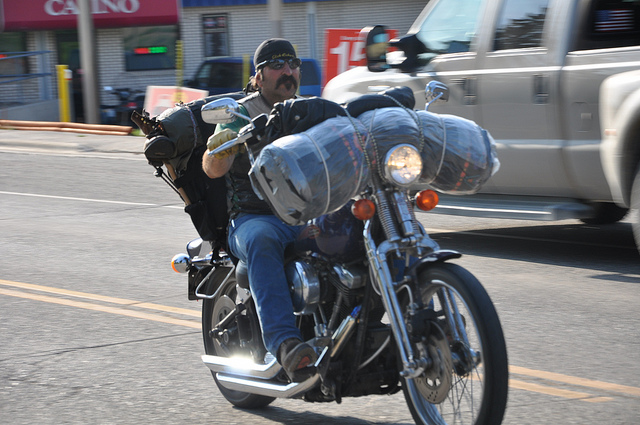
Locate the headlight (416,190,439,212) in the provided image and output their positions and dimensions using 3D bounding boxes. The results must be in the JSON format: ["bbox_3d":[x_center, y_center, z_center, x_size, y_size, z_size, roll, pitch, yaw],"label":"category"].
[{"bbox_3d":[0.570,-0.063,3.307,0.112,0.100,0.036,-20,18,-22],"label":"headlight"}]

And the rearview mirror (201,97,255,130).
[{"bbox_3d":[-0.522,-0.527,3.265,0.198,0.130,0.216,-4,12,-10],"label":"rearview mirror"}]

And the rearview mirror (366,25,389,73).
[{"bbox_3d":[0.703,-2.088,7.965,0.314,0.561,0.119,-3,24,-9],"label":"rearview mirror"}]

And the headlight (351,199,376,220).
[{"bbox_3d":[0.225,-0.018,3.206,0.114,0.104,0.058,-26,10,-3],"label":"headlight"}]

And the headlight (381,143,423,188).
[{"bbox_3d":[0.436,-0.235,3.162,0.238,0.229,0.100,-9,15,-30],"label":"headlight"}]

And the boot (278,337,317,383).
[{"bbox_3d":[-0.132,0.794,3.419,0.141,0.256,0.115,-29,17,-26],"label":"boot"}]

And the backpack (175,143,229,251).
[{"bbox_3d":[-0.755,-0.070,4.165,0.490,0.608,0.251,-9,4,-37],"label":"backpack"}]

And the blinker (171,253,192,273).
[{"bbox_3d":[-1.027,0.361,4.521,0.188,0.134,0.138,4,-5,-15],"label":"blinker"}]
